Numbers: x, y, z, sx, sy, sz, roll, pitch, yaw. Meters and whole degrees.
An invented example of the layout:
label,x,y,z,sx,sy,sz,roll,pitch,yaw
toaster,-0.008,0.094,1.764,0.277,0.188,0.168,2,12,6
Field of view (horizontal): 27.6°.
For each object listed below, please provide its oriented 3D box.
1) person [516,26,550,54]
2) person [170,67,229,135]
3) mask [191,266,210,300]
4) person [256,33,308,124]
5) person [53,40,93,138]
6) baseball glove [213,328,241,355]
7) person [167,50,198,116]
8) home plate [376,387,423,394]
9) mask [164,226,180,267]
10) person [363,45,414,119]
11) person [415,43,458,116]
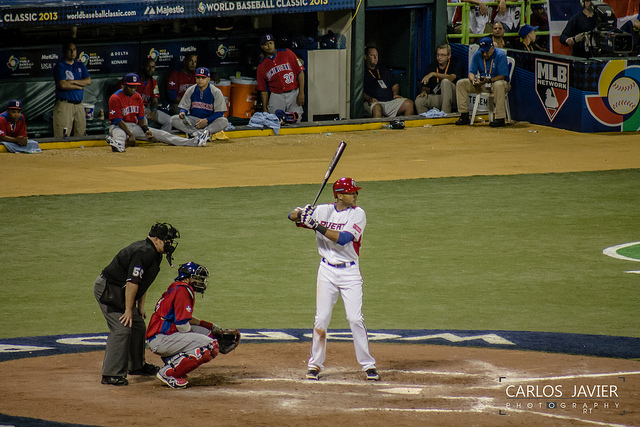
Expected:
label,x,y,z,sx,sy,sz,roll,pitch,yaw
person,5.534,-4.340,32.244,1.184,0.557,0.597,0,17,3
person,-2.805,-2.562,29.802,1.716,1.725,1.167,2,20,1
mask,-1.706,0.955,18.551,0.229,0.463,0.388,-1,9,-4
person,-0.923,-3.233,31.091,1.101,2.124,0.645,-1,9,-3
person,-5.498,-2.755,28.849,0.830,2.091,0.759,-5,10,-26
baseball glove,-1.312,1.805,18.593,0.403,0.290,0.170,-3,6,-9
person,-3.098,-3.083,30.647,1.072,1.398,0.939,3,11,-18
home plate,1.167,2.480,18.185,0.508,0.043,0.155,0,8,3
mask,-2.111,0.430,18.431,0.185,0.440,0.348,5,10,-3
person,1.703,-3.318,32.506,1.143,1.721,0.657,0,9,2
person,3.034,-3.340,32.210,0.994,1.733,0.863,7,11,36
